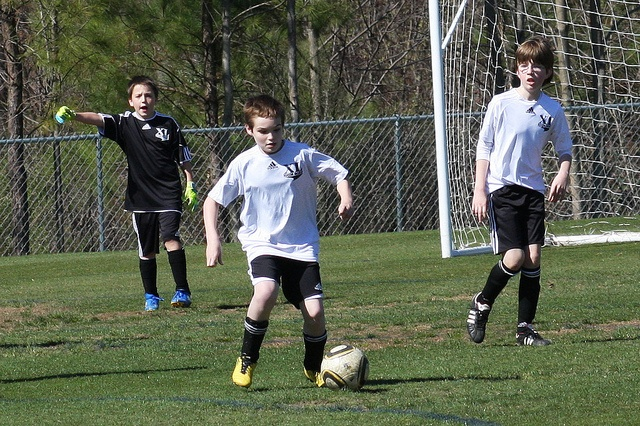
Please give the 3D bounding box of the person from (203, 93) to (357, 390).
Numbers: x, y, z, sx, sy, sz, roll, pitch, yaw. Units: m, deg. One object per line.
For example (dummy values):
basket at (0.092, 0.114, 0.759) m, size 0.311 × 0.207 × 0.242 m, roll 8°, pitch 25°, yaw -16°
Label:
person at (-0.367, 0.239, 8.561) m, size 1.314 × 2.565 × 0.752 m, roll -3°, pitch 10°, yaw -3°

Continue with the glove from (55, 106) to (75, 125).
glove at (-2.907, -1.134, 10.854) m, size 0.208 × 0.205 × 0.429 m, roll -5°, pitch 11°, yaw -14°

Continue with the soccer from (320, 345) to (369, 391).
soccer at (0.263, 1.434, 8.506) m, size 0.371 × 0.379 × 0.376 m, roll -18°, pitch -20°, yaw 2°

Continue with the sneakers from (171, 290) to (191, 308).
sneakers at (-1.606, 0.992, 10.930) m, size 0.223 × 0.223 × 0.269 m, roll -4°, pitch 11°, yaw -8°

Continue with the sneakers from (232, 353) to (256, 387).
sneakers at (-0.665, 1.418, 8.376) m, size 0.135 × 0.155 × 0.349 m, roll 35°, pitch 9°, yaw -11°

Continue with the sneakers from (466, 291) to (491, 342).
sneakers at (1.555, 1.030, 9.320) m, size 0.169 × 0.509 × 0.226 m, roll 4°, pitch -8°, yaw -17°

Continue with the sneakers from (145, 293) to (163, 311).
sneakers at (-1.932, 1.034, 10.869) m, size 0.156 × 0.176 × 0.206 m, roll -4°, pitch 11°, yaw -9°

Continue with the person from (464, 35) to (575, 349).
person at (1.967, 0.021, 9.319) m, size 1.018 × 2.443 × 0.807 m, roll 0°, pitch 10°, yaw 9°

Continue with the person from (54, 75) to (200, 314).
person at (-1.869, -0.232, 10.938) m, size 0.837 × 2.692 × 0.731 m, roll -2°, pitch 10°, yaw -1°

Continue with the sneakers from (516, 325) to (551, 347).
sneakers at (2.031, 1.216, 9.159) m, size 0.139 × 0.185 × 0.393 m, roll 1°, pitch -5°, yaw -38°
